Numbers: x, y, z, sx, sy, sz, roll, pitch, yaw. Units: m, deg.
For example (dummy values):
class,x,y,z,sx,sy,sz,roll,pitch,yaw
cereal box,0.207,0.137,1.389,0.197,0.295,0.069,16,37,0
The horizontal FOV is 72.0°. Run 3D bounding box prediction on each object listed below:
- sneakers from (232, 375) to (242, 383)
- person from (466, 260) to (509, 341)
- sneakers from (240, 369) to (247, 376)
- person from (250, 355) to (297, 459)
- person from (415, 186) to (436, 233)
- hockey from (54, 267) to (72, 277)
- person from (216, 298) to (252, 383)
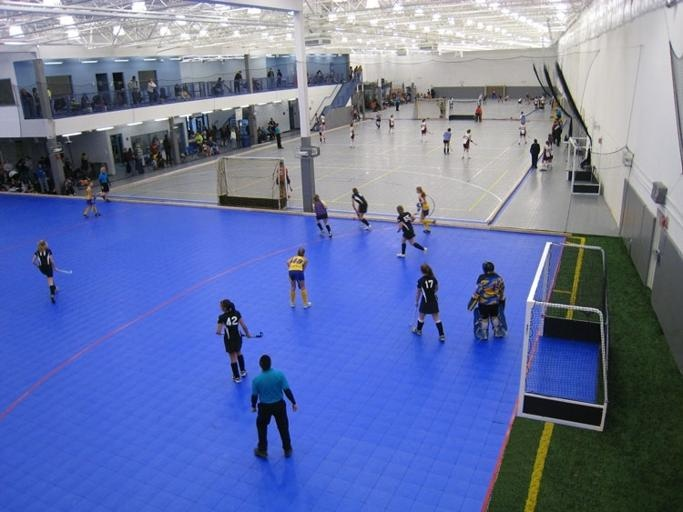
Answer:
class,x,y,z,sx,sy,sz,roll,pitch,yaw
sneakers,-2.322,2.699,10.451,0.192,0.100,0.098,17,23,35
person,3.487,1.027,11.180,0.900,2.036,0.608,1,17,9
sneakers,-2.197,2.606,10.546,0.077,0.070,0.161,1,29,-4
person,-1.245,2.577,8.517,0.781,2.007,0.831,-5,17,-10
person,3.401,-1.810,19.178,0.905,2.274,0.787,4,54,16
hockey,-9.459,0.521,16.037,0.423,0.204,0.304,12,35,11
person,-2.334,1.744,10.248,0.633,2.056,0.906,-6,18,-14
